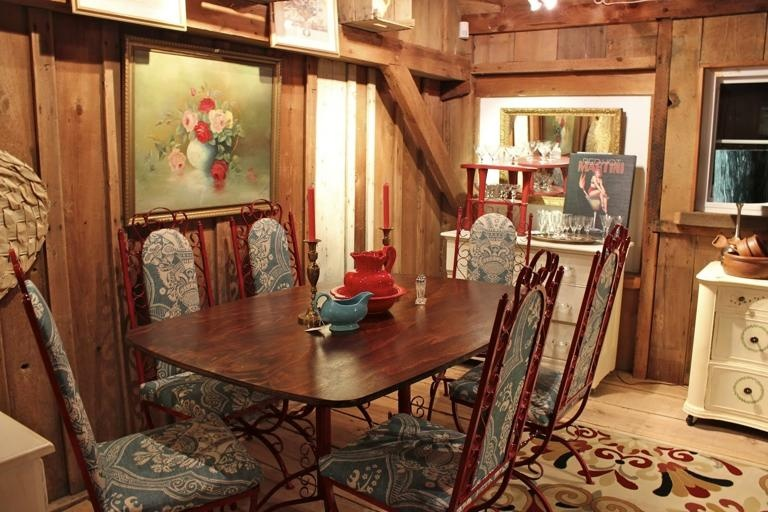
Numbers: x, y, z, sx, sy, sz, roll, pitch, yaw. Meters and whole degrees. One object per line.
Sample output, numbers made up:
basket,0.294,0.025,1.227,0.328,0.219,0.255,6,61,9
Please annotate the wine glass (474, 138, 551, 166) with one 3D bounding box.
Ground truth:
wine glass,1.147,-0.907,4.986,0.650,0.189,0.268,3,12,14

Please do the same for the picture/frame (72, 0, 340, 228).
picture/frame,-1.184,-0.934,3.625,0.122,1.592,1.535,18,21,42

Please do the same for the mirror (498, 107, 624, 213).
mirror,1.557,-0.929,5.025,1.126,0.787,0.055,-1,11,-4

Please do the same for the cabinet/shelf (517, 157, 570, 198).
cabinet/shelf,1.375,-0.694,4.980,0.497,0.369,0.331,-5,13,-26

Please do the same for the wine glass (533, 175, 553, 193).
wine glass,1.422,-0.657,5.075,0.157,0.161,0.147,-12,22,-18

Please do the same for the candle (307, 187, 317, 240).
candle,-0.363,-0.235,2.883,0.041,0.250,0.041,0,6,8

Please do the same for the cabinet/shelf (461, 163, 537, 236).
cabinet/shelf,1.058,-0.542,5.215,0.811,0.609,0.768,6,8,33

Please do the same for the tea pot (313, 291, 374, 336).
tea pot,-0.214,0.287,2.998,0.286,0.201,0.204,-2,9,-12
